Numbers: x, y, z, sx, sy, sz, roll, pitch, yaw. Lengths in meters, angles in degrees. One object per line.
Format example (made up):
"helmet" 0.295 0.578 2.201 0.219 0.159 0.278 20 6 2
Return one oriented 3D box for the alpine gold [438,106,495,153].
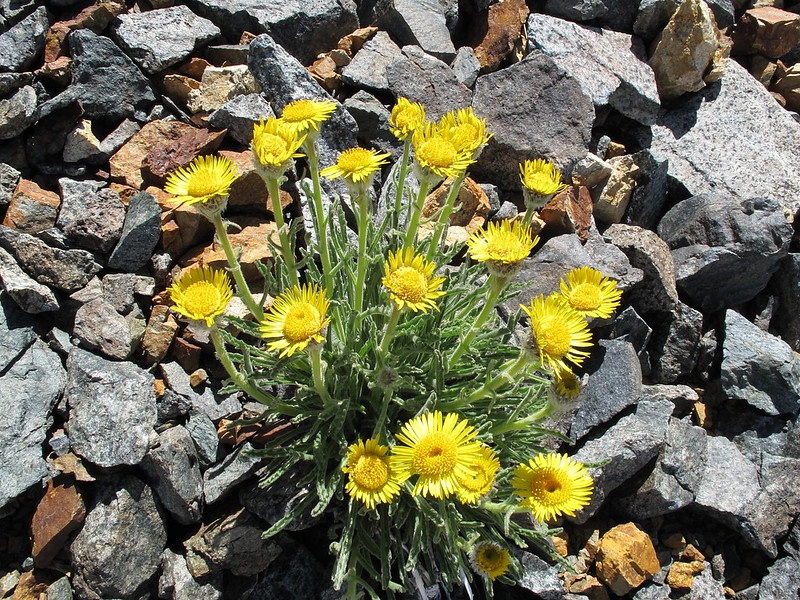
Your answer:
"alpine gold" 0.378 -1.025 4.226 0.085 0.207 0.205 -26 -67 3
